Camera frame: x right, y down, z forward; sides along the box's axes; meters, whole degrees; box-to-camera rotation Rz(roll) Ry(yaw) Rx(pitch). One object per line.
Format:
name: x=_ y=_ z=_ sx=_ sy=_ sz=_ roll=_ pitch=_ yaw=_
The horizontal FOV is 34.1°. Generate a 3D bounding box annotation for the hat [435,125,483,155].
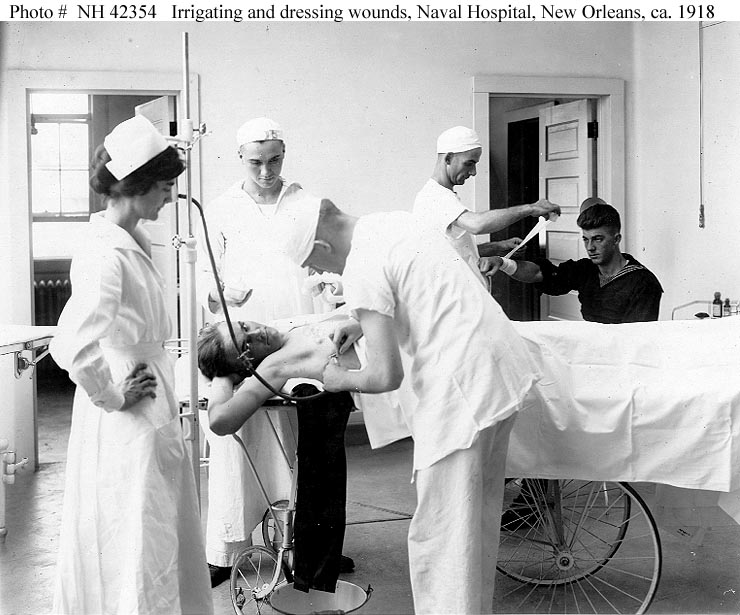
hat: x=0.427 y=-0.808 z=5.878 sx=0.194 sy=0.114 sz=0.130 roll=0 pitch=29 yaw=15

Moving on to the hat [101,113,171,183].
hat: x=-0.843 y=-0.586 z=4.376 sx=0.246 sy=0.193 sz=0.076 roll=-32 pitch=-5 yaw=-12
